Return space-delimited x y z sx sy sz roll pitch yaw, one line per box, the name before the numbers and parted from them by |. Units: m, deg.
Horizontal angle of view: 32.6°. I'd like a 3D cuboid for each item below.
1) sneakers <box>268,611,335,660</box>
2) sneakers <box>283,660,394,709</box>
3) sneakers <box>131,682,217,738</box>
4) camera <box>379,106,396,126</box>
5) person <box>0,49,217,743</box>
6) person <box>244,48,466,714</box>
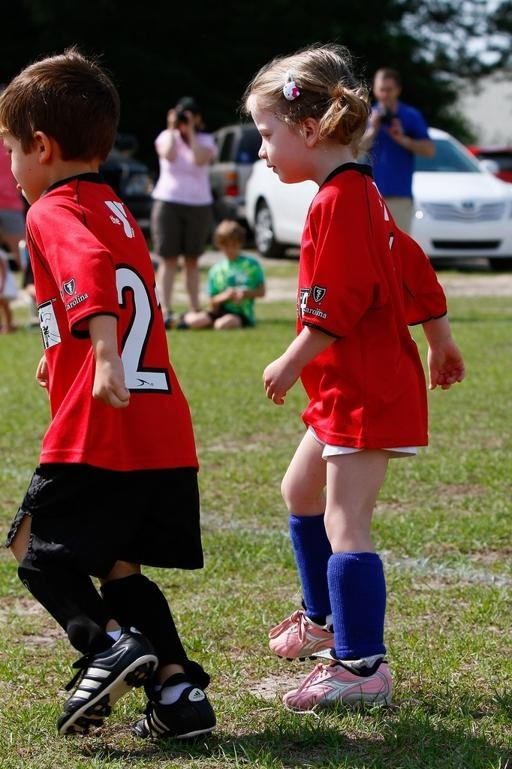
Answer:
sneakers | 0.105 0.592 2.061 0.155 0.081 0.091 0 -1 2
sneakers | 0.168 0.599 1.760 0.260 0.102 0.086 0 -12 1
sneakers | -0.152 0.606 1.653 0.071 0.069 0.175 0 -6 -28
camera | 0.934 -1.916 6.287 0.106 0.148 0.172 0 -1 22
person | -0.303 -0.011 1.674 0.432 1.348 0.335 1 4 41
person | 0.225 -0.072 1.914 0.460 1.451 0.473 -2 3 -1
